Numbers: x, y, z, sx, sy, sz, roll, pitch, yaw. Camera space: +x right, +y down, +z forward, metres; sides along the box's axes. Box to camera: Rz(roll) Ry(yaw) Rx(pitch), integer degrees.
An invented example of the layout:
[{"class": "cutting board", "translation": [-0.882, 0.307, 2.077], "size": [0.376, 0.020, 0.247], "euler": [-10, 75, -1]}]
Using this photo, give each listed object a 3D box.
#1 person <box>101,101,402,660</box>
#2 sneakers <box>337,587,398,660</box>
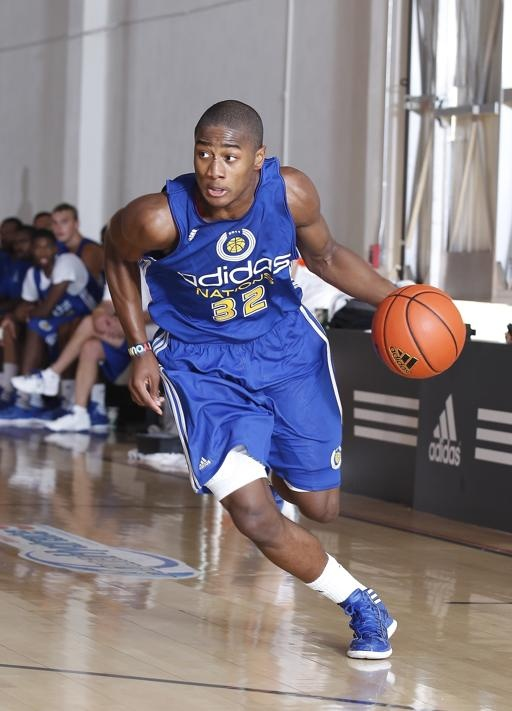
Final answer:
[{"class": "person", "translation": [0.006, 0.073, 1.588], "size": [0.621, 1.125, 0.399], "euler": [0, 5, -11]}, {"class": "sneakers", "translation": [0.236, 0.560, 1.554], "size": [0.071, 0.084, 0.189], "euler": [-5, -6, 7]}]
